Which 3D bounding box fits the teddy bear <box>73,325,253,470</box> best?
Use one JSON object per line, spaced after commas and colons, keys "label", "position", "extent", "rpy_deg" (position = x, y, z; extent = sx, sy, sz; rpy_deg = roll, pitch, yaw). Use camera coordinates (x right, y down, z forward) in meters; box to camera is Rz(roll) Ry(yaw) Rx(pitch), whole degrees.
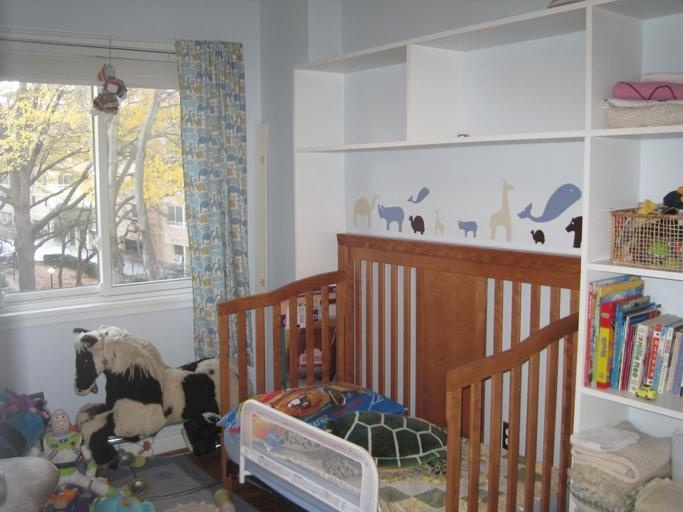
{"label": "teddy bear", "position": [-1.083, 0.781, 3.409], "extent": [0.938, 0.726, 0.447], "rpy_deg": [3, 2, -38]}

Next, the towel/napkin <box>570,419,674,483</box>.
{"label": "towel/napkin", "position": [1.056, 0.707, 2.199], "extent": [0.216, 0.080, 0.222], "rpy_deg": [0, 2, 39]}

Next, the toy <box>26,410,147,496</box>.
{"label": "toy", "position": [-1.382, 1.052, 3.161], "extent": [0.586, 0.491, 0.348], "rpy_deg": [-3, 6, -19]}

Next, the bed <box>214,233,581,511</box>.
{"label": "bed", "position": [0.308, 0.563, 2.787], "extent": [0.726, 1.081, 1.252], "rpy_deg": [-7, 12, -43]}

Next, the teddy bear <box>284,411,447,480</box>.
{"label": "teddy bear", "position": [0.192, 0.855, 2.706], "extent": [0.585, 0.194, 0.254], "rpy_deg": [-1, 6, 6]}

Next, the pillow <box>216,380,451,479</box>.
{"label": "pillow", "position": [0.125, 0.802, 2.744], "extent": [0.593, 0.184, 0.606], "rpy_deg": [3, 5, -40]}
